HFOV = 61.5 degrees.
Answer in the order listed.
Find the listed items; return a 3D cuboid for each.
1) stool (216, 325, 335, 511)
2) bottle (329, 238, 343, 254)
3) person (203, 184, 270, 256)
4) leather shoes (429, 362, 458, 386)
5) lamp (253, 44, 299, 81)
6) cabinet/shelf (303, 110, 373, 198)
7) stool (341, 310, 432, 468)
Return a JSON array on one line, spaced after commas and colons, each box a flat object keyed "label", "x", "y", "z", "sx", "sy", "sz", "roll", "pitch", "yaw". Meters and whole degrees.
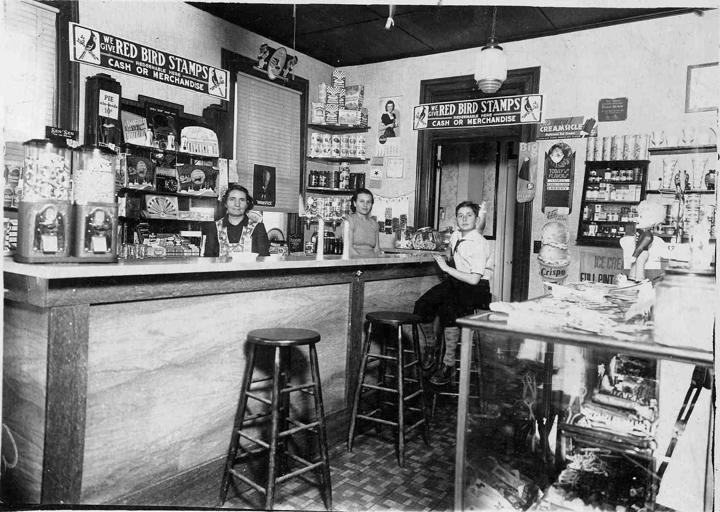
[{"label": "stool", "x": -0.427, "y": 1.026, "z": 3.963, "sx": 0.679, "sy": 1.131, "sz": 0.915, "roll": 7, "pitch": 10, "yaw": 26}, {"label": "bottle", "x": -0.307, "y": -0.129, "z": 7.816, "sx": 0.110, "sy": 0.204, "sz": 0.205, "roll": -4, "pitch": -6, "yaw": 41}, {"label": "person", "x": -1.147, "y": -0.311, "z": 5.695, "sx": 0.593, "sy": 0.678, "sz": 1.994, "roll": 0, "pitch": 10, "yaw": -14}, {"label": "leather shoes", "x": 0.813, "y": 1.134, "z": 5.763, "sx": 0.133, "sy": 0.152, "sz": 0.346, "roll": -2, "pitch": -10, "yaw": 32}, {"label": "lamp", "x": -0.950, "y": -2.328, "z": 7.358, "sx": 0.409, "sy": 0.405, "sz": 0.757, "roll": 7, "pitch": 10, "yaw": 23}, {"label": "cabinet/shelf", "x": -0.295, "y": -1.351, "z": 7.988, "sx": 1.342, "sy": 1.282, "sz": 0.476, "roll": -1, "pitch": 1, "yaw": -23}, {"label": "stool", "x": 0.295, "y": 0.924, "z": 4.966, "sx": 0.637, "sy": 1.054, "sz": 1.362, "roll": 4, "pitch": 9, "yaw": 8}]
